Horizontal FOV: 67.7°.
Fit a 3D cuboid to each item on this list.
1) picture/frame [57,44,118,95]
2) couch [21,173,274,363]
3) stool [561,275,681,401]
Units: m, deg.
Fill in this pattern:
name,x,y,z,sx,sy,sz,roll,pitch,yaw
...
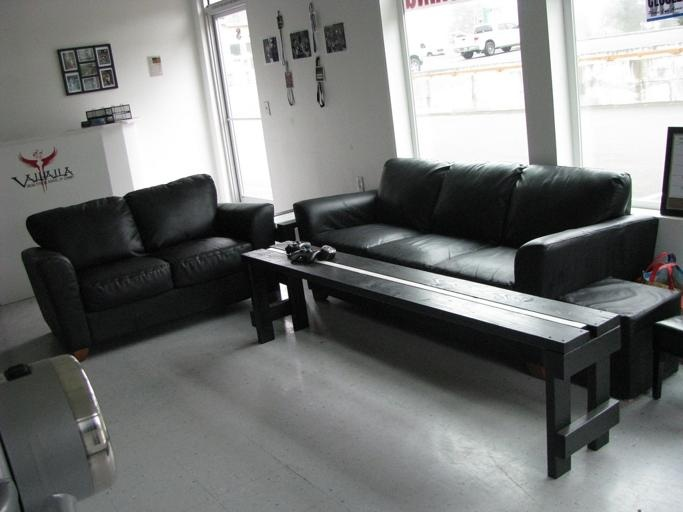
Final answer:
name,x,y,z,sx,sy,sz,roll,pitch,yaw
picture/frame,-3.183,-2.325,6.333,0.639,0.554,0.045,-16,20,-31
couch,-1.576,0.002,4.298,1.870,1.053,0.997,-16,20,-34
stool,1.462,0.337,2.726,0.562,0.555,0.550,10,23,44
